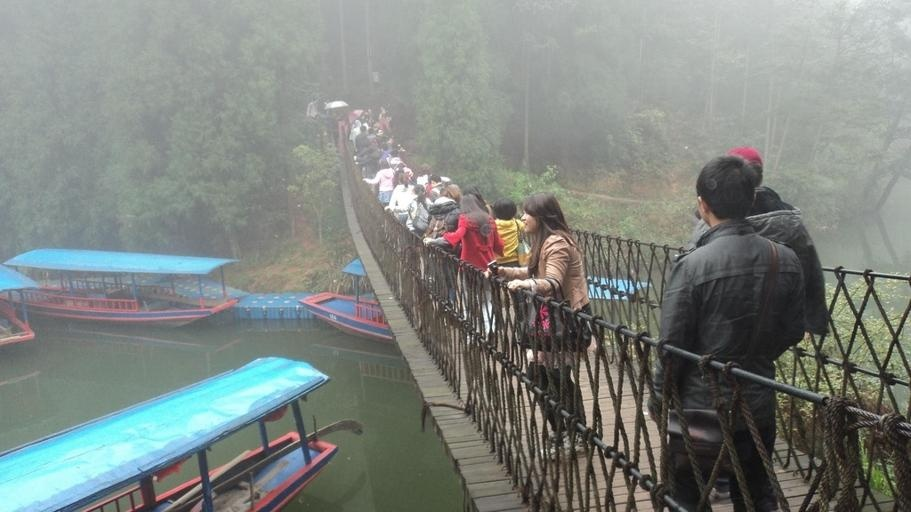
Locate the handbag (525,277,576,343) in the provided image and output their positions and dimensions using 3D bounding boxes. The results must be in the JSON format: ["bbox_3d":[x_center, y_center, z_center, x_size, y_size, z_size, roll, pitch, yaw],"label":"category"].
[{"bbox_3d":[2.709,1.639,18.249,0.938,1.734,1.332,-3,-1,5],"label":"handbag"}]
